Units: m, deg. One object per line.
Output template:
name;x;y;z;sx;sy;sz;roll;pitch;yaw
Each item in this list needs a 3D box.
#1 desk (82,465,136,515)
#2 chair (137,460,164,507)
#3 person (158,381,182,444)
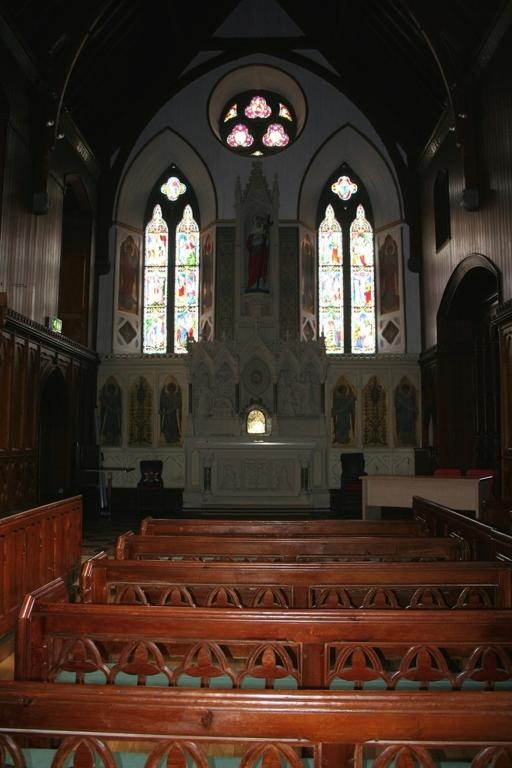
desk;-2.642;1.797;13.241;0.981;0.912;0.872;0;-1;0
chair;-1.854;1.781;13.256;0.434;0.819;0.475;1;-5;-9
person;-1.744;0.605;15.318;0.465;1.308;0.112;-1;-5;17
